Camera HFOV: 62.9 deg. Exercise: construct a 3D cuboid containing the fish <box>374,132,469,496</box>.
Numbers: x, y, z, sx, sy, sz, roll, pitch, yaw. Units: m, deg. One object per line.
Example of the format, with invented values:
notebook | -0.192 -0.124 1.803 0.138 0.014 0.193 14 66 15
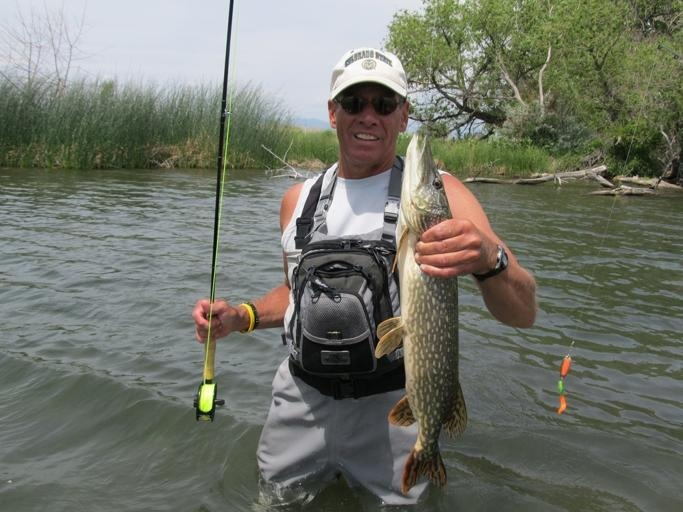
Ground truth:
fish | 0.474 0.407 3.279 0.548 2.223 0.384 2 8 7
